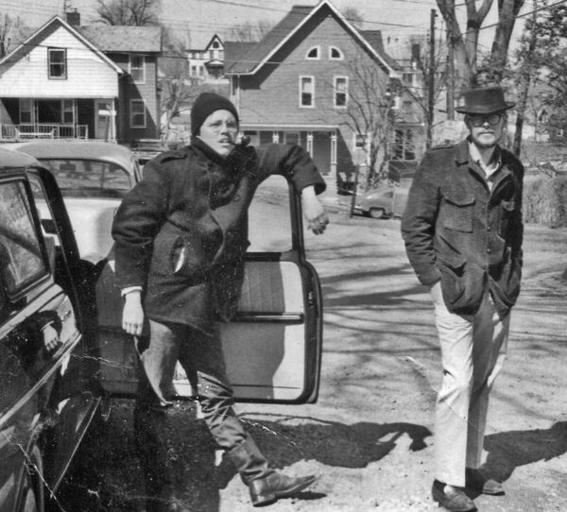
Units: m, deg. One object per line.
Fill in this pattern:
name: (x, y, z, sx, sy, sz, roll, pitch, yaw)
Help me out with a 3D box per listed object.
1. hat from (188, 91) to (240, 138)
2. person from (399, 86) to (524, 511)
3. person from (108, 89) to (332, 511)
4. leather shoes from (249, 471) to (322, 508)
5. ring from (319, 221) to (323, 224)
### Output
hat: (-0.372, -0.686, 3.524, 0.179, 0.199, 0.184, -6, -9, 17)
person: (0.864, 0.169, 3.587, 0.469, 1.958, 0.573, 5, 7, 40)
person: (-0.387, 0.176, 3.375, 0.761, 1.872, 0.515, -2, 6, -19)
leather shoes: (-0.006, 1.070, 3.414, 0.336, 0.176, 0.130, -4, 8, -35)
ring: (0.178, -0.166, 3.558, 0.014, 0.016, 0.004, 2, -4, -5)
